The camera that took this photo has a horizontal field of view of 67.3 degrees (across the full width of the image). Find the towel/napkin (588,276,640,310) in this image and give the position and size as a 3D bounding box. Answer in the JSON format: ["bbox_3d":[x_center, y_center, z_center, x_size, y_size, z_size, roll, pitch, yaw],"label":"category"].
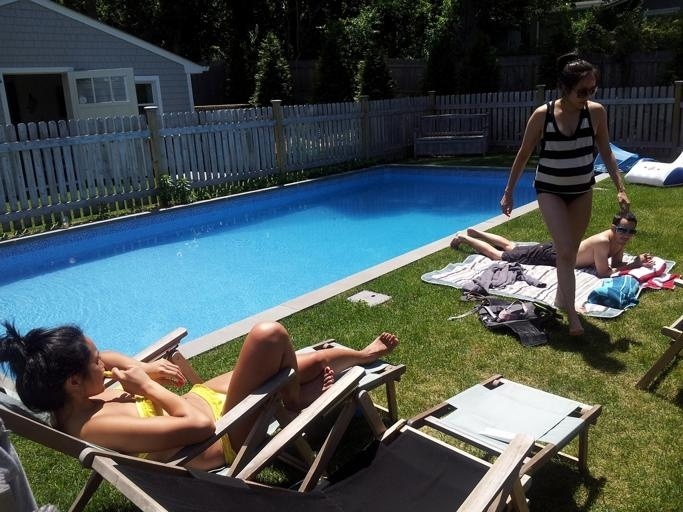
[{"bbox_3d":[2.472,0.282,4.639,0.354,0.163,0.288,6,29,43],"label":"towel/napkin"}]

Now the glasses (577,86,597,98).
[{"bbox_3d":[1.901,-1.275,3.990,0.126,0.085,0.161,6,21,24],"label":"glasses"}]

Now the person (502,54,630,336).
[{"bbox_3d":[1.890,-0.518,4.345,0.858,2.262,0.735,-1,22,19],"label":"person"}]
